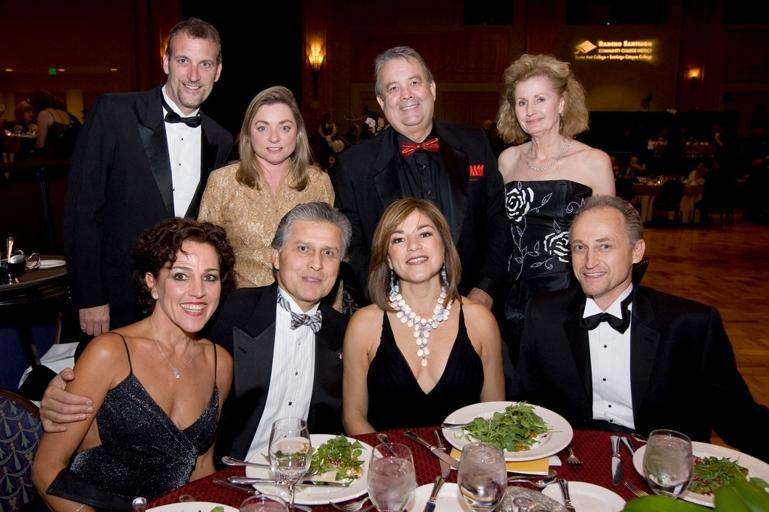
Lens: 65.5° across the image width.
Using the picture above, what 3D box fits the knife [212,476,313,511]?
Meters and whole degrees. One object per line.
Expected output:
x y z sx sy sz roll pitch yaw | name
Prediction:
-0.467 0.908 2.272 0.314 0.040 0.019 19 -24 7 | knife

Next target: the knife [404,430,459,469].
0.202 0.808 2.501 0.075 0.022 0.381 -4 4 -8 | knife

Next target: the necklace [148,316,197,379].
-1.027 0.451 2.905 0.083 0.428 0.082 -11 14 -14 | necklace

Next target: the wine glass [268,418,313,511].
-0.367 0.799 2.341 0.163 0.265 0.237 0 12 -7 | wine glass

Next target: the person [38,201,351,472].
-0.947 0.419 3.084 1.068 1.350 0.451 21 -9 -34 | person
